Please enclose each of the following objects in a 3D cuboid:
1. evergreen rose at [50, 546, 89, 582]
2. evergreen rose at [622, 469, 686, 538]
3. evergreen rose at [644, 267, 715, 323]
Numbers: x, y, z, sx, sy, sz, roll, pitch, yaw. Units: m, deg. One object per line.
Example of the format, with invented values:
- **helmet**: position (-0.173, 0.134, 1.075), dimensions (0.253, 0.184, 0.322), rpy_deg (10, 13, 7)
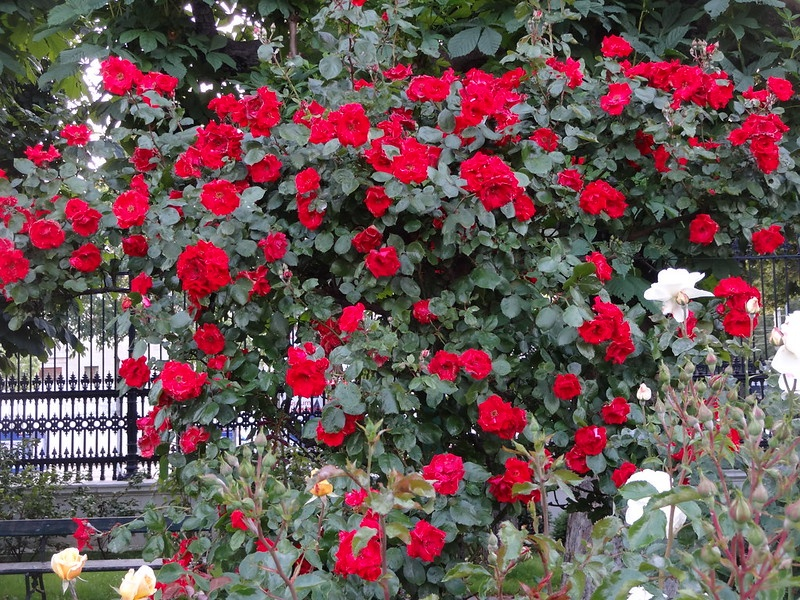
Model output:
- **evergreen rose**: position (-1.188, 0.935, 3.912), dimensions (0.108, 0.154, 0.203), rpy_deg (-2, 7, -17)
- **evergreen rose**: position (0.877, 0.696, 3.761), dimensions (0.199, 0.201, 0.364), rpy_deg (2, 7, 14)
- **evergreen rose**: position (1.000, -0.019, 3.987), dimensions (0.201, 0.209, 0.204), rpy_deg (-9, -1, -2)
